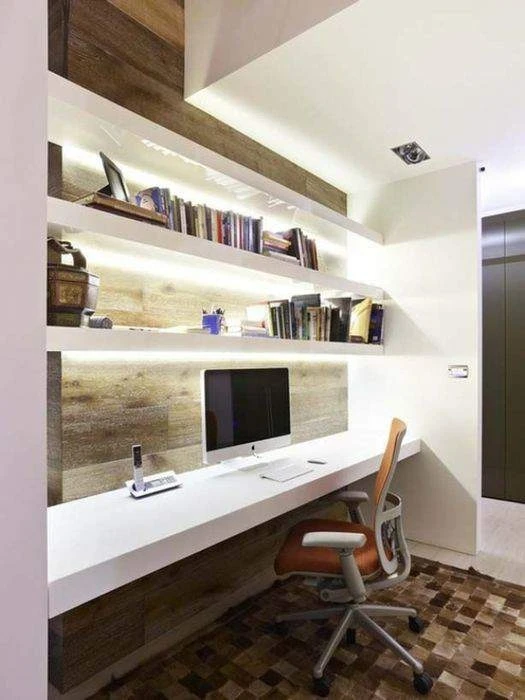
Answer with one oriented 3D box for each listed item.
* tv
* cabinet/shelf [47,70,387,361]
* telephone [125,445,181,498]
[{"bbox_3d":[-0.096,0.327,2.312,0.050,0.336,0.472,-6,-6,40],"label":"tv"},{"bbox_3d":[-0.102,-0.402,2.464,0.340,0.866,2.229,1,1,35],"label":"cabinet/shelf"},{"bbox_3d":[-0.423,0.451,1.934,0.209,0.197,0.142,-6,9,-37],"label":"telephone"}]
